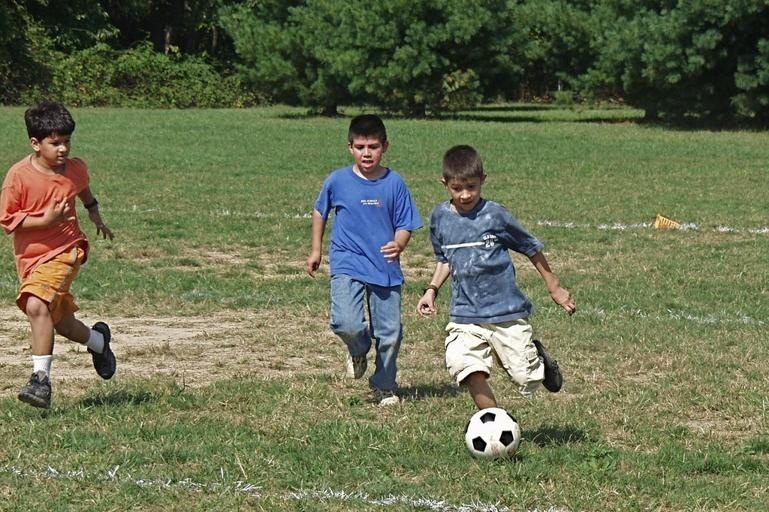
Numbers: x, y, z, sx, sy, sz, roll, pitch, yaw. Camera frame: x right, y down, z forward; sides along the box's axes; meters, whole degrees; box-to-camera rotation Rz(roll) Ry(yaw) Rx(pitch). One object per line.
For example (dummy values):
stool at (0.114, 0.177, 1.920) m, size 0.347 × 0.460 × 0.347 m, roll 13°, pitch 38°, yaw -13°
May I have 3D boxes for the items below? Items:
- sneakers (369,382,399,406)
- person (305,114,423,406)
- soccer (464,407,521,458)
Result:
sneakers at (-0.026, 2.129, 19.142) m, size 0.218 × 0.222 × 0.536 m, roll 1°, pitch -2°, yaw -21°
person at (-0.275, 0.080, 18.998) m, size 1.535 × 4.258 × 0.770 m, roll 0°, pitch 10°, yaw 1°
soccer at (1.529, 2.488, 17.937) m, size 0.696 × 0.682 × 0.686 m, roll 1°, pitch -6°, yaw -9°
